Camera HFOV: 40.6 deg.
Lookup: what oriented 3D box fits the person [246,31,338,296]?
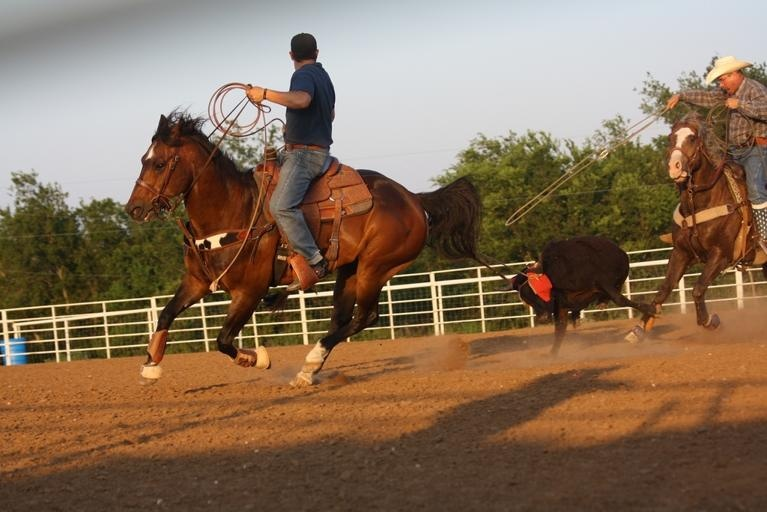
[{"bbox_3d":[-1.238,-1.449,15.601,1.191,2.566,0.567,-2,-1,-19],"label":"person"}]
